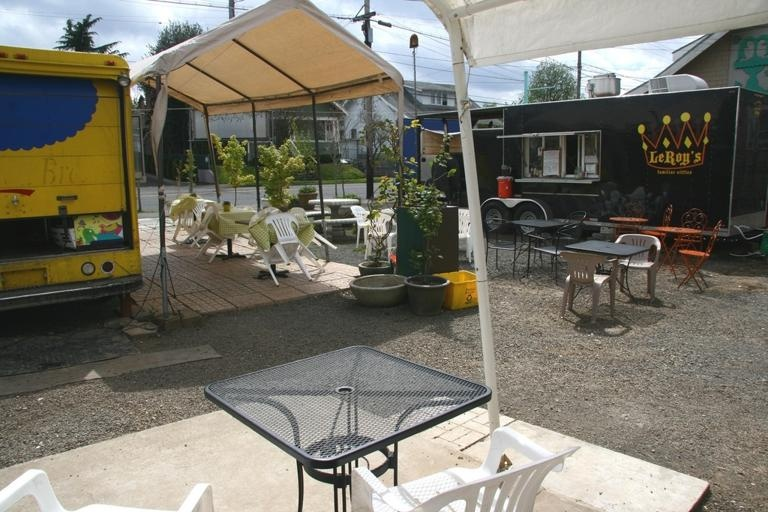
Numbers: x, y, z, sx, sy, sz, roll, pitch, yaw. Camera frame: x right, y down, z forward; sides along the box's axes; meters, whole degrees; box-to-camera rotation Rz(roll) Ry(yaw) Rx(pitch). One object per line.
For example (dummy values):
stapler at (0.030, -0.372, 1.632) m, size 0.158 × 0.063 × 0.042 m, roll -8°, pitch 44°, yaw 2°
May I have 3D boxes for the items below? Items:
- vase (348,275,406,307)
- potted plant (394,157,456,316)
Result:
vase at (-0.073, 0.493, 8.232) m, size 0.801 × 0.268 × 0.788 m, roll -15°, pitch 22°, yaw -34°
potted plant at (0.652, -0.230, 8.085) m, size 0.969 × 1.943 × 1.327 m, roll 1°, pitch 15°, yaw 1°
